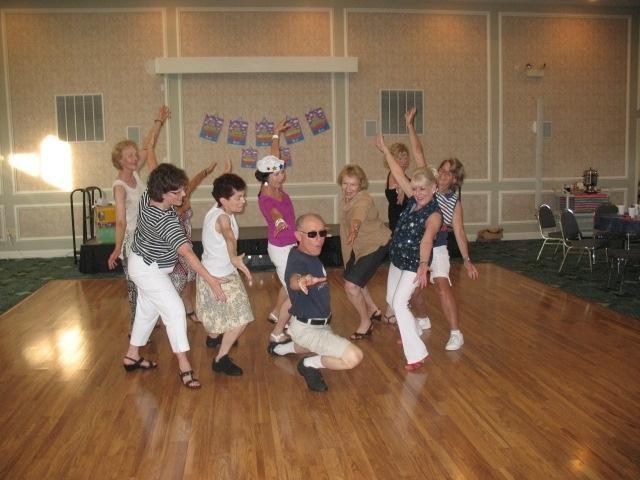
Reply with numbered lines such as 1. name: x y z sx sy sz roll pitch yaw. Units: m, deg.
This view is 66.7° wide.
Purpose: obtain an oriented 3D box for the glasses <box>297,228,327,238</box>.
1. glasses: -0.049 -0.048 3.361 0.177 0.064 0.063 -3 9 -5

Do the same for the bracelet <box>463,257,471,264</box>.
1. bracelet: 1.465 0.194 4.859 0.077 0.091 0.088 5 15 26

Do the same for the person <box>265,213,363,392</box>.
1. person: -0.063 0.411 3.843 0.844 1.004 1.020 -18 19 -41

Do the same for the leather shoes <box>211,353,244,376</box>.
1. leather shoes: -0.752 1.015 3.972 0.236 0.133 0.131 4 5 18

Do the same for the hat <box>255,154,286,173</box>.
1. hat: -0.422 -0.667 4.188 0.197 0.090 0.153 -10 21 -27

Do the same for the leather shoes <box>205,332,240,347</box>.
1. leather shoes: -0.901 0.928 4.552 0.377 0.184 0.149 -1 1 -12

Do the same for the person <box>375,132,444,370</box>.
1. person: 0.766 0.124 4.024 0.463 1.775 0.711 0 10 9

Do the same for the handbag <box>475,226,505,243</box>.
1. handbag: 3.318 -0.117 9.533 0.498 0.247 0.249 -5 10 -17

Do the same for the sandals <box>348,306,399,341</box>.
1. sandals: 0.514 0.810 4.821 0.619 0.286 0.190 -7 1 -43

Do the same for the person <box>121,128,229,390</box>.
1. person: -1.162 0.274 3.692 1.042 1.699 0.404 5 12 37

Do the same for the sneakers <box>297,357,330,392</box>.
1. sneakers: -0.071 1.032 3.717 0.139 0.130 0.287 -19 63 -43

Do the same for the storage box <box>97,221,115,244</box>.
1. storage box: -3.270 -0.109 7.386 0.244 0.244 0.264 1 -1 -2

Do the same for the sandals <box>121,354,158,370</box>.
1. sandals: -1.502 1.019 4.015 0.238 0.116 0.113 -2 7 -19

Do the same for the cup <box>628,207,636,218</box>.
1. cup: 4.276 -0.390 6.654 0.102 0.150 0.237 5 11 34
